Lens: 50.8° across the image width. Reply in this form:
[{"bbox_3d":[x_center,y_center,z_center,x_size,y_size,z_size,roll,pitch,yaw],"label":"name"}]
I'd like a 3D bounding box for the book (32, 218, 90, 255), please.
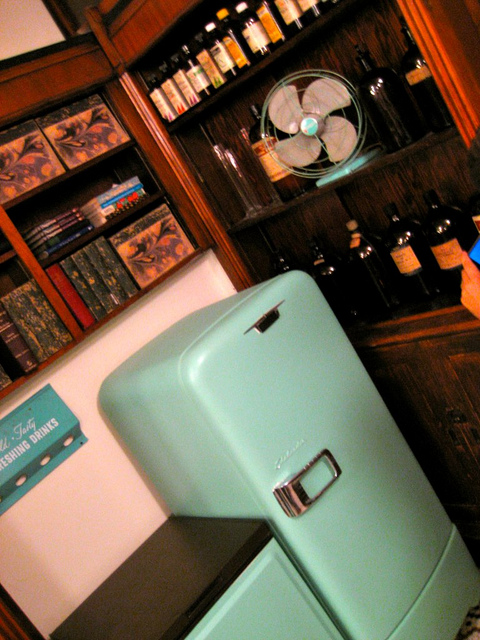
[{"bbox_3d":[-0.597,-0.273,1.672,0.203,0.030,0.028,-41,-27,-26],"label":"book"}]

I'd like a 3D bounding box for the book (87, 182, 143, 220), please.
[{"bbox_3d":[-0.431,-0.409,1.825,0.151,0.034,0.137,-35,10,-29],"label":"book"}]

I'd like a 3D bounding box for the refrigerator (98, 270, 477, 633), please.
[{"bbox_3d":[0.193,0.508,1.573,0.556,1.076,0.555,-43,11,-35],"label":"refrigerator"}]

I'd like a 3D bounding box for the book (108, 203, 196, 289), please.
[{"bbox_3d":[-0.327,-0.209,1.861,0.328,0.082,0.439,-3,35,-10],"label":"book"}]

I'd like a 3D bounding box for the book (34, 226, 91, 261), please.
[{"bbox_3d":[-0.589,-0.257,1.695,0.043,0.025,0.228,-24,13,47],"label":"book"}]

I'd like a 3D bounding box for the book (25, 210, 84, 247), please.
[{"bbox_3d":[-0.623,-0.305,1.696,0.274,0.035,0.034,-33,-11,-24],"label":"book"}]

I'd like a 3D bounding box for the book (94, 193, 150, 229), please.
[{"bbox_3d":[-0.422,-0.409,1.841,0.141,0.033,0.146,-18,16,47],"label":"book"}]

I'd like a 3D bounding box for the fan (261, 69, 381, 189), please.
[{"bbox_3d":[0.274,-0.630,1.673,0.332,0.356,0.215,-28,11,34],"label":"fan"}]

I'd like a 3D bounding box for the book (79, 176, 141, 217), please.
[{"bbox_3d":[-0.472,-0.454,1.829,0.238,0.046,0.110,-34,9,-5],"label":"book"}]

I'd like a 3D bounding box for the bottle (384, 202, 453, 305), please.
[{"bbox_3d":[0.592,-0.251,1.742,0.108,0.356,0.106,-32,25,16],"label":"bottle"}]

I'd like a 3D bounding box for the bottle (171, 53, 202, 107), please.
[{"bbox_3d":[-0.192,-0.870,1.844,0.063,0.207,0.066,-25,0,0],"label":"bottle"}]

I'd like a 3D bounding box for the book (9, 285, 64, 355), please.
[{"bbox_3d":[-0.615,0.003,1.532,0.112,0.331,0.025,-32,-37,-19],"label":"book"}]

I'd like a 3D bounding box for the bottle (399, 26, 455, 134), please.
[{"bbox_3d":[0.533,-0.679,1.487,0.089,0.251,0.027,-26,14,47],"label":"bottle"}]

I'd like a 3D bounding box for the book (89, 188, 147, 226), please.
[{"bbox_3d":[-0.434,-0.381,1.843,0.146,0.034,0.150,-23,8,45],"label":"book"}]
